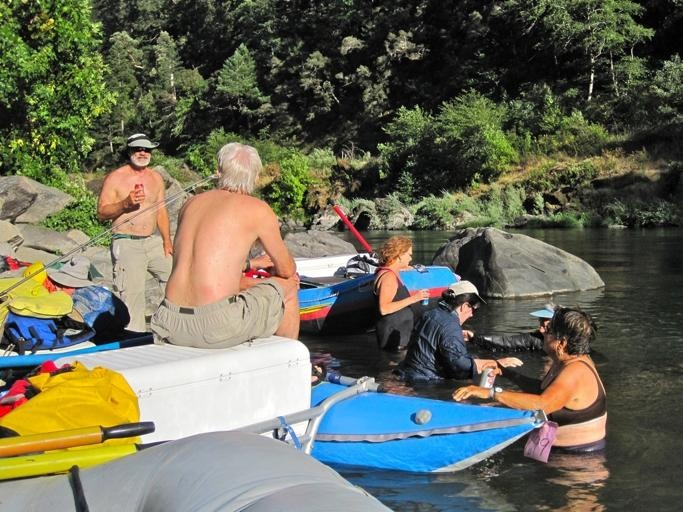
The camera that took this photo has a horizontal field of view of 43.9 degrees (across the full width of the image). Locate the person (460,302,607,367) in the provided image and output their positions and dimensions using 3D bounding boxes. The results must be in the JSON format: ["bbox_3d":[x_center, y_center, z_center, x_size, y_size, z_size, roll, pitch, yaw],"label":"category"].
[{"bbox_3d":[2.245,0.965,10.138,1.258,0.402,0.847,-6,3,1],"label":"person"}]

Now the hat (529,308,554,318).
[{"bbox_3d":[2.420,0.695,10.292,0.331,0.117,0.322,6,-9,-39],"label":"hat"}]

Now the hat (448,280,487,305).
[{"bbox_3d":[1.275,0.391,8.591,0.359,0.172,0.219,10,3,-14],"label":"hat"}]

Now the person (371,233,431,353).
[{"bbox_3d":[0.720,0.504,10.504,0.607,1.720,0.668,-10,50,-3],"label":"person"}]

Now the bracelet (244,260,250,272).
[{"bbox_3d":[-0.940,0.105,8.331,0.053,0.118,0.089,11,21,-15],"label":"bracelet"}]

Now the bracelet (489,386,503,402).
[{"bbox_3d":[1.309,1.190,7.284,0.125,0.115,0.039,-1,-1,-20],"label":"bracelet"}]

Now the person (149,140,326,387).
[{"bbox_3d":[-0.956,-0.075,7.187,1.248,1.774,0.638,-8,7,-38],"label":"person"}]

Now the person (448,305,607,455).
[{"bbox_3d":[1.789,1.084,7.250,0.978,1.240,0.549,-6,6,-26],"label":"person"}]
